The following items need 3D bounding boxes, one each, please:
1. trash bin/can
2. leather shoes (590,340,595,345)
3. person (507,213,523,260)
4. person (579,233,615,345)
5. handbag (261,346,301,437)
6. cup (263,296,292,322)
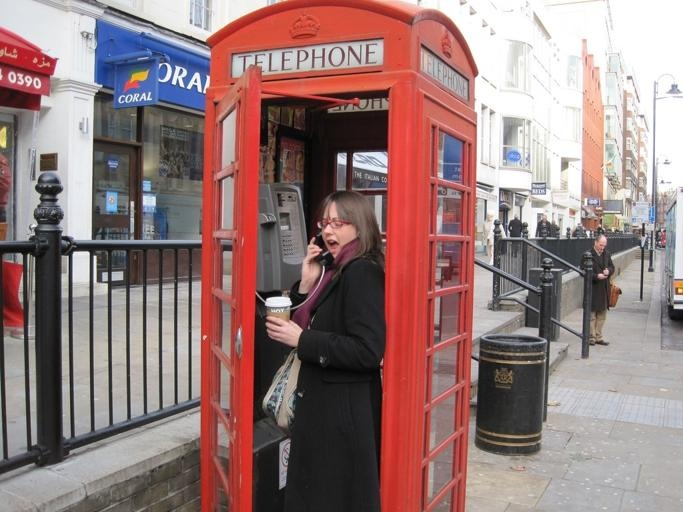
[{"bbox_3d":[1.728,1.348,6.893,0.612,1.207,0.695,-8,15,-30],"label":"trash bin/can"},{"bbox_3d":[4.559,1.563,12.162,0.075,0.110,0.239,2,1,24],"label":"leather shoes"},{"bbox_3d":[5.882,-0.722,22.677,0.416,1.600,0.450,-3,27,4],"label":"person"},{"bbox_3d":[4.751,0.615,12.241,0.386,2.008,0.731,1,1,21],"label":"person"},{"bbox_3d":[-0.409,0.936,4.517,0.223,0.594,0.424,15,-31,-3],"label":"handbag"},{"bbox_3d":[-0.392,0.321,4.147,0.124,0.125,0.139,-1,7,-8],"label":"cup"}]
